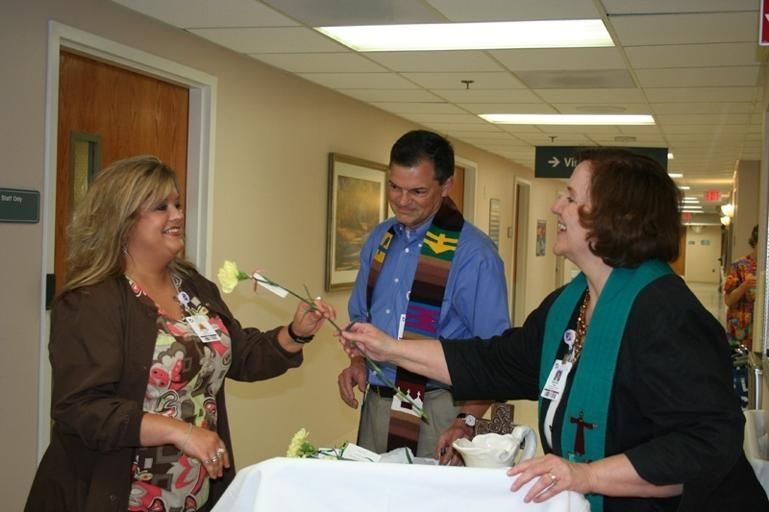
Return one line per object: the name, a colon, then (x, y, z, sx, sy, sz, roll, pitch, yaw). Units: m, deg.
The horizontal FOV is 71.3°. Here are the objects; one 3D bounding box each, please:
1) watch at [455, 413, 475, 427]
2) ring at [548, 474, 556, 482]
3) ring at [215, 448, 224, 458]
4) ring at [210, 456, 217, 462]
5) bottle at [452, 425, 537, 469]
watch: (0.372, 0.727, 2.398, 0.053, 0.035, 0.065, 12, -5, -17)
ring: (0.486, 0.636, 1.537, 0.013, 0.018, 0.020, -10, -18, -32)
ring: (-0.612, 0.727, 1.986, 0.025, 0.011, 0.026, -2, -4, 0)
ring: (-0.630, 0.745, 1.971, 0.019, 0.007, 0.020, -1, 5, 0)
bottle: (0.365, 0.563, 1.692, 0.196, 0.092, 0.143, 4, -8, -42)
